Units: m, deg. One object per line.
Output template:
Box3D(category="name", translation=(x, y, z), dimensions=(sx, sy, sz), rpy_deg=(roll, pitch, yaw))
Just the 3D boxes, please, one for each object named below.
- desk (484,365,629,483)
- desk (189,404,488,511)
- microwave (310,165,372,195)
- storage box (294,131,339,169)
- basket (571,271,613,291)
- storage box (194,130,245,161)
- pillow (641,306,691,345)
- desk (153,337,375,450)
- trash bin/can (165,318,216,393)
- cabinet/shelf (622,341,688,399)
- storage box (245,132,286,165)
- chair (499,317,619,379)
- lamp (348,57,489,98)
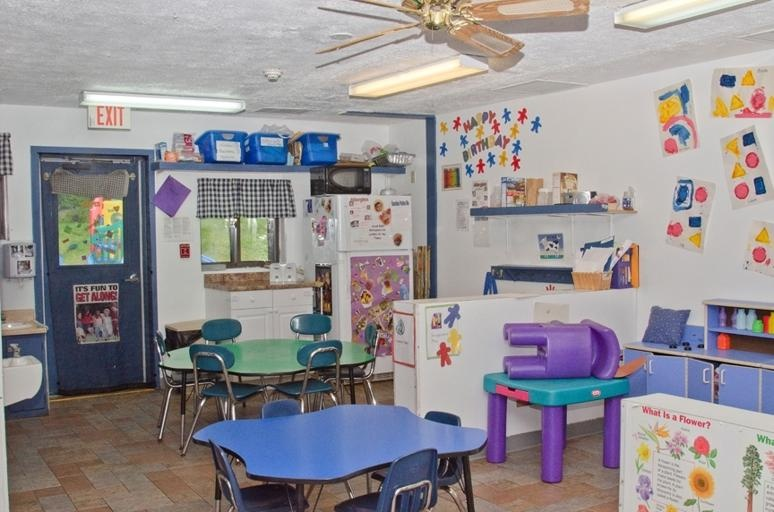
Box3D(category="desk", translation=(1.461, 1.420, 5.783), dimensions=(1.104, 0.859, 1.075), rpy_deg=(1, -1, -35))
Box3D(category="desk", translation=(-0.392, 1.250, 4.191), dimensions=(1.332, 0.590, 0.952), rpy_deg=(-2, 3, -37))
Box3D(category="microwave", translation=(-0.635, -1.014, 8.298), dimensions=(0.798, 0.402, 0.399), rpy_deg=(-1, 8, -2))
Box3D(category="storage box", translation=(-0.940, -1.379, 8.455), dimensions=(0.618, 0.376, 0.472), rpy_deg=(2, -8, -22))
Box3D(category="basket", translation=(2.147, 0.265, 6.550), dimensions=(0.296, 0.138, 0.213), rpy_deg=(-1, -2, 29))
Box3D(category="storage box", translation=(-2.107, -1.414, 7.988), dimensions=(0.457, 0.316, 0.505), rpy_deg=(1, -2, -29))
Box3D(category="pillow", translation=(2.761, 0.715, 6.192), dimensions=(0.398, 0.342, 0.389), rpy_deg=(4, 9, 32))
Box3D(category="desk", translation=(-1.268, 1.478, 6.185), dimensions=(1.359, 0.497, 1.366), rpy_deg=(5, 6, 43))
Box3D(category="trash bin/can", translation=(-2.561, 1.165, 7.992), dimensions=(0.524, 0.576, 0.633), rpy_deg=(4, 4, 40))
Box3D(category="cabinet/shelf", translation=(2.570, 1.112, 5.999), dimensions=(0.464, 0.516, 0.595), rpy_deg=(2, -3, -33))
Box3D(category="storage box", translation=(-1.580, -1.406, 8.248), dimensions=(0.516, 0.341, 0.399), rpy_deg=(0, -1, -32))
Box3D(category="chair", translation=(1.605, 0.853, 5.569), dimensions=(0.779, 0.345, 0.604), rpy_deg=(-1, -1, -1))
Box3D(category="lamp", translation=(0.249, -1.689, 5.857), dimensions=(0.318, 0.195, 1.532), rpy_deg=(-8, 10, -44))
